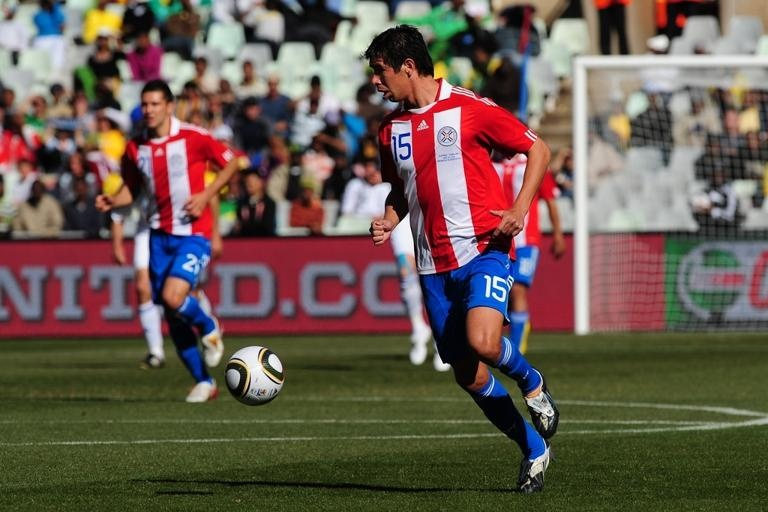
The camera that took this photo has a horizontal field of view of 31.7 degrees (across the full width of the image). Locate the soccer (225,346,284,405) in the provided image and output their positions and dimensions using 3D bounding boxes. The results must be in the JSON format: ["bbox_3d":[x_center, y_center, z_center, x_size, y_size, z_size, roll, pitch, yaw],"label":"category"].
[{"bbox_3d":[-1.159,1.127,12.911,0.512,0.554,0.598,-12,0,27],"label":"soccer"}]

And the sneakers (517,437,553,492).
[{"bbox_3d":[1.320,1.931,12.120,0.206,0.285,0.634,1,32,25],"label":"sneakers"}]

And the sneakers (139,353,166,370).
[{"bbox_3d":[-2.875,1.329,16.776,0.381,0.182,0.179,3,0,-16],"label":"sneakers"}]

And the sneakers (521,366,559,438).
[{"bbox_3d":[1.431,1.361,12.069,0.208,0.661,0.256,-22,-6,31],"label":"sneakers"}]

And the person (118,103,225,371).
[{"bbox_3d":[-2.307,-0.224,15.277,1.248,3.469,1.187,-2,6,-8],"label":"person"}]

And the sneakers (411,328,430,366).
[{"bbox_3d":[0.459,1.288,18.576,0.185,0.598,0.243,0,-19,32],"label":"sneakers"}]
